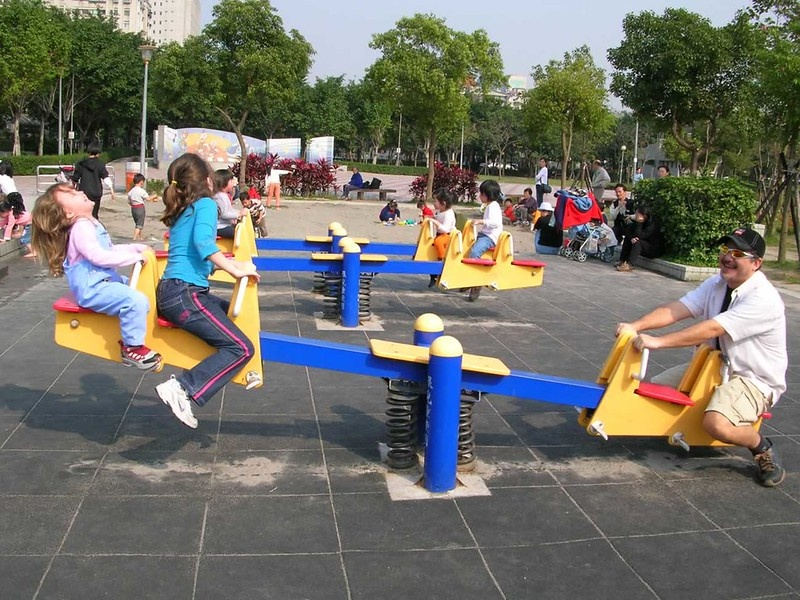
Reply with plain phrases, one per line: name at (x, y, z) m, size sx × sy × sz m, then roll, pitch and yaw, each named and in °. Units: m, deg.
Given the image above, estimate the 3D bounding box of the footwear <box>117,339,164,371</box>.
footwear at (-1.625, 0.358, 4.141) m, size 0.283 × 0.117 × 0.140 m, roll 6°, pitch 19°, yaw 2°

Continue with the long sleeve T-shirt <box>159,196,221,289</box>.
long sleeve T-shirt at (-1.380, -0.374, 4.307) m, size 0.372 × 0.585 × 0.518 m, roll 4°, pitch -2°, yaw -29°

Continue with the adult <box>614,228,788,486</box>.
adult at (2.115, 0.335, 4.630) m, size 1.279 × 1.619 × 1.315 m, roll 3°, pitch 5°, yaw -7°

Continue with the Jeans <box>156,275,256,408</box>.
Jeans at (-1.239, 0.254, 4.169) m, size 0.444 × 0.741 × 0.452 m, roll -5°, pitch 17°, yaw -34°

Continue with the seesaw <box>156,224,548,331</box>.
seesaw at (-0.978, -0.486, 8.435) m, size 5.663 × 1.416 × 1.546 m, roll 2°, pitch 5°, yaw -5°

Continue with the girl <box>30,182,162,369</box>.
girl at (-1.876, -0.206, 4.401) m, size 0.998 × 1.077 × 0.806 m, roll 5°, pitch 12°, yaw 9°

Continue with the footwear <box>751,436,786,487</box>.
footwear at (2.496, 1.085, 4.475) m, size 0.154 × 0.172 × 0.405 m, roll -38°, pitch 13°, yaw 27°

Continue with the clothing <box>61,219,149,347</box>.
clothing at (-1.843, -0.119, 4.127) m, size 0.637 × 0.737 × 0.317 m, roll 10°, pitch 15°, yaw 22°

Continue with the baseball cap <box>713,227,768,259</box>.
baseball cap at (2.278, -0.383, 4.313) m, size 0.280 × 0.128 × 0.190 m, roll 21°, pitch 6°, yaw -20°

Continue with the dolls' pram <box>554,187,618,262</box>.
dolls' pram at (4.225, -1.584, 14.418) m, size 1.386 × 1.226 × 1.387 m, roll 5°, pitch 9°, yaw 43°

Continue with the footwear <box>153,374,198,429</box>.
footwear at (-1.370, 0.633, 3.991) m, size 0.224 × 0.313 × 0.188 m, roll 0°, pitch 15°, yaw -19°

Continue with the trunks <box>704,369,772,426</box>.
trunks at (2.262, 0.701, 4.421) m, size 0.412 × 0.283 × 0.176 m, roll 23°, pitch -4°, yaw -4°

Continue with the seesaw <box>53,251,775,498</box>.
seesaw at (0.157, 0.553, 4.305) m, size 4.335 × 1.114 × 0.911 m, roll 11°, pitch -3°, yaw -17°

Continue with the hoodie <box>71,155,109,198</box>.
hoodie at (-6.094, -2.404, 12.889) m, size 0.717 × 0.742 × 0.344 m, roll -3°, pitch 7°, yaw -3°

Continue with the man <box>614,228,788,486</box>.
man at (2.082, 0.362, 4.603) m, size 1.290 × 1.594 × 1.246 m, roll 2°, pitch 5°, yaw -11°
